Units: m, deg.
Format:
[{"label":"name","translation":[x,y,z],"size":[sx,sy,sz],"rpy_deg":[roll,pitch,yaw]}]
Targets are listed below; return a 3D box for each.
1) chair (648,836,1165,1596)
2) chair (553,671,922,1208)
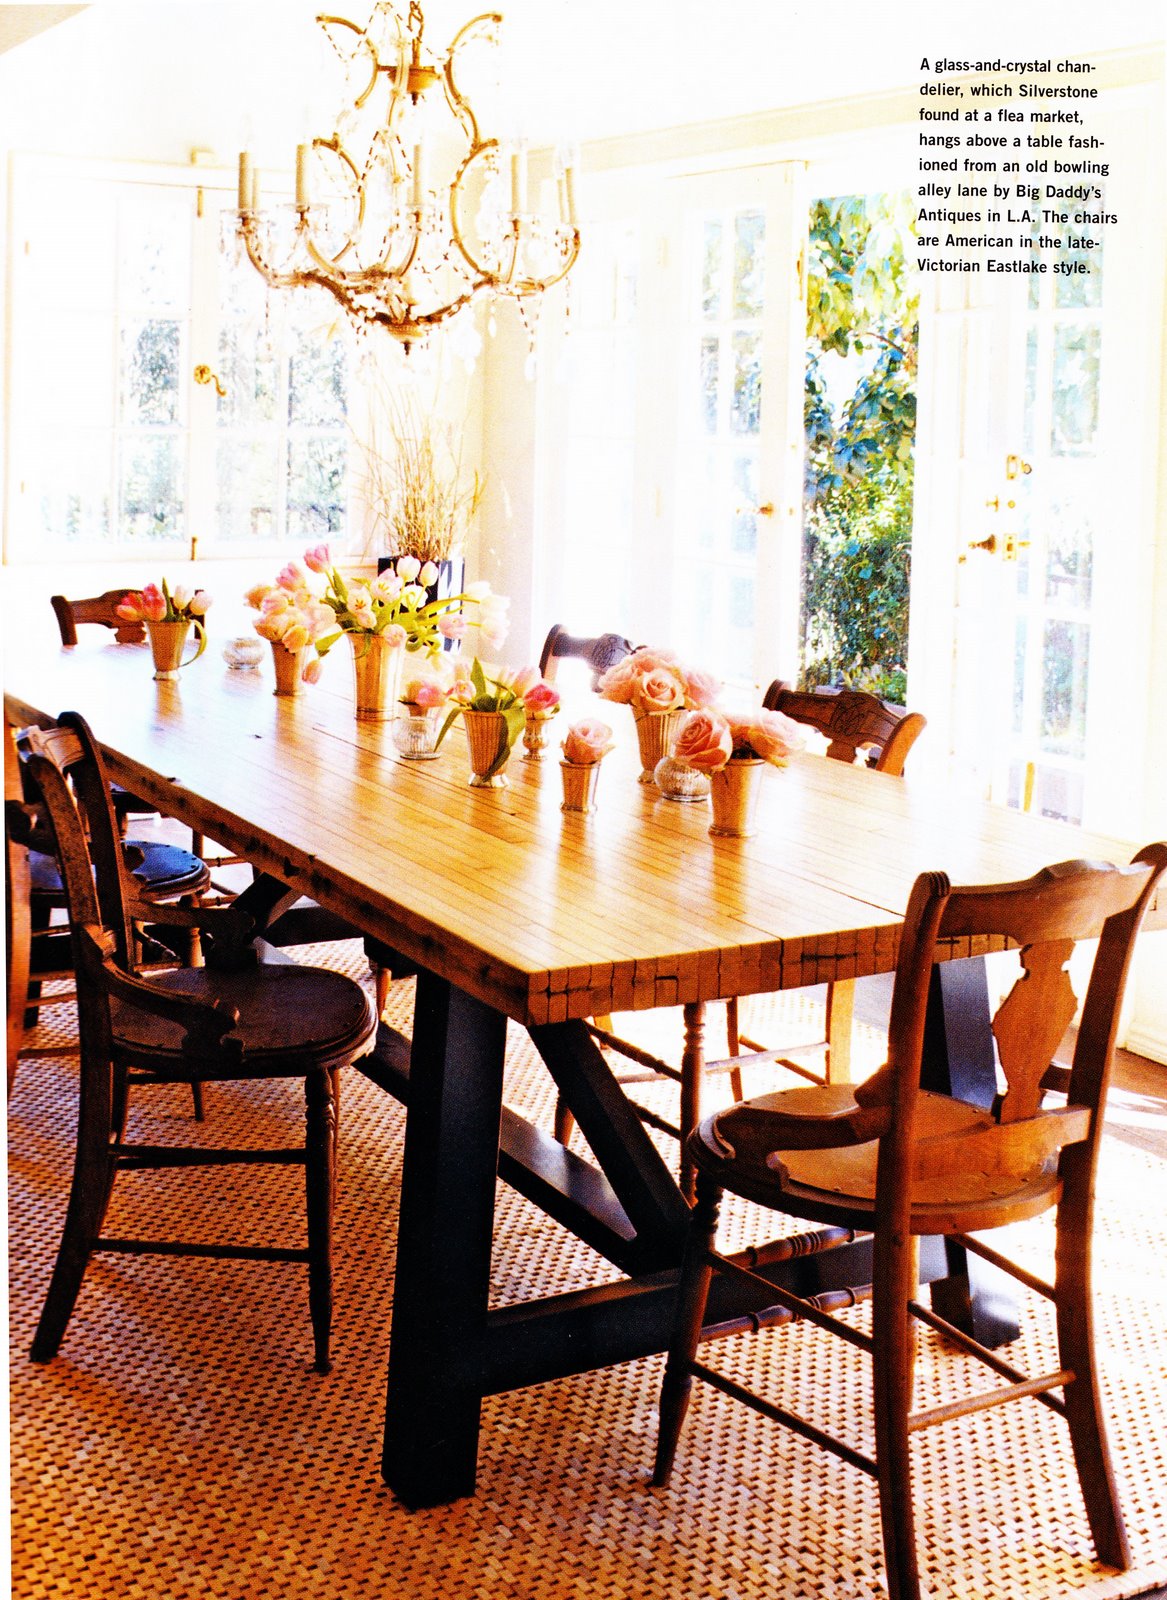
[{"label":"chair","translation":[0.446,0.525,1.694],"size":[0.576,1.002,0.480],"rpy_deg":[-2,12,-19]},{"label":"chair","translation":[0.340,0.299,2.901],"size":[0.703,1.080,0.712],"rpy_deg":[5,14,10]}]
